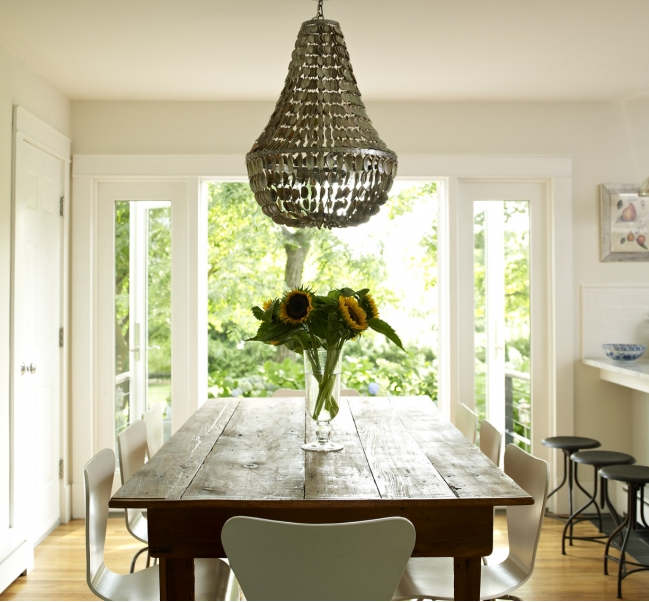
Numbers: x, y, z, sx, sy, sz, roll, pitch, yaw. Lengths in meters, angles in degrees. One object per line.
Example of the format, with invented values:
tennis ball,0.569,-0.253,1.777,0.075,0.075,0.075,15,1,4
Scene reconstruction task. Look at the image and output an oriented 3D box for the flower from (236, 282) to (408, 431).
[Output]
flower,-0.026,0.179,2.038,0.430,0.409,0.392,-1,-7,-6
